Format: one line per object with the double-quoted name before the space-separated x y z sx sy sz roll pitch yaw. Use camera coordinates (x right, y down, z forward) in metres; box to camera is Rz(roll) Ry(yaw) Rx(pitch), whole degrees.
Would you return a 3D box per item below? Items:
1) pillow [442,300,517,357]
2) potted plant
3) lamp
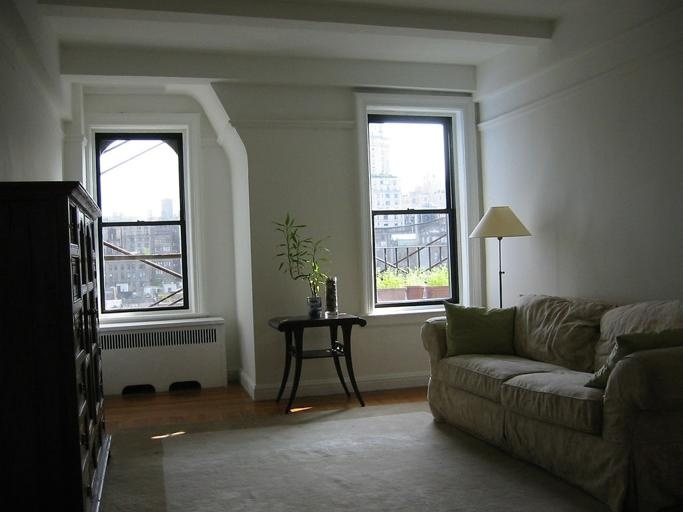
"pillow" 1.123 0.609 4.374 0.395 0.295 0.141 -1 4 -3
"potted plant" -0.361 0.068 5.132 0.518 0.950 0.433 -3 1 -4
"lamp" 1.521 0.005 5.077 0.527 0.785 0.736 -3 1 19
